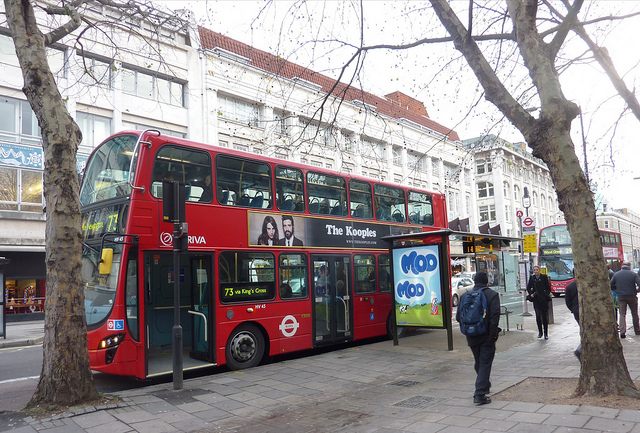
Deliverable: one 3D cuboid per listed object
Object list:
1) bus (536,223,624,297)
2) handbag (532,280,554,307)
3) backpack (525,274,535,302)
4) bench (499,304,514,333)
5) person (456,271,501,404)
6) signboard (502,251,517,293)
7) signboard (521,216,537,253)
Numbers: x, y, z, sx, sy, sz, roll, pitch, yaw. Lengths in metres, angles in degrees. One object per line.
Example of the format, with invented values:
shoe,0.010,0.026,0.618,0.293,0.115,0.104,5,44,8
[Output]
bus,18.558,3.077,34.602,9.260,4.537,2.470,5,-9,-42
handbag,7.160,2.436,15.744,0.680,0.666,0.273,-1,-3,-28
backpack,6.782,2.337,15.907,0.216,0.686,0.738,-4,-3,21
bench,6.466,3.533,17.030,0.301,0.746,1.472,-4,-4,23
person,3.209,2.365,9.769,0.737,1.845,0.722,-4,-2,19
signboard,7.055,2.112,18.415,0.188,1.778,1.425,-5,-7,40
signboard,8.760,0.791,20.607,0.785,1.538,0.015,-2,-3,-28
